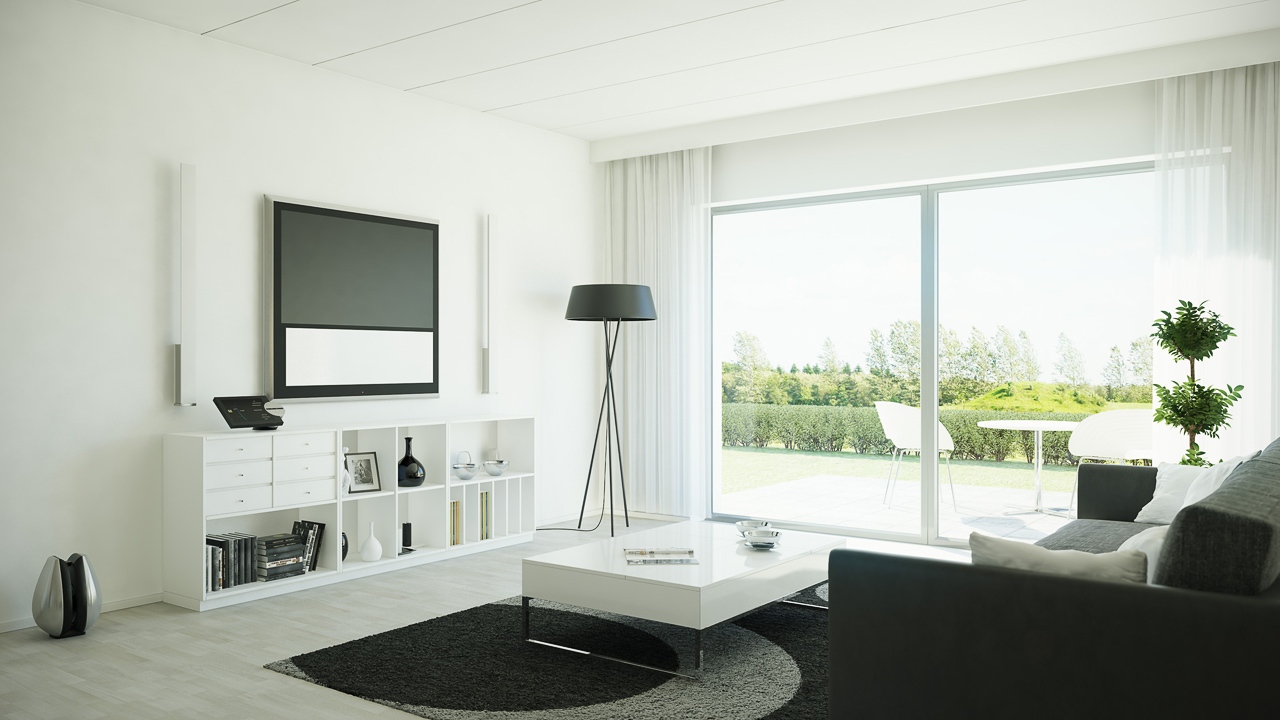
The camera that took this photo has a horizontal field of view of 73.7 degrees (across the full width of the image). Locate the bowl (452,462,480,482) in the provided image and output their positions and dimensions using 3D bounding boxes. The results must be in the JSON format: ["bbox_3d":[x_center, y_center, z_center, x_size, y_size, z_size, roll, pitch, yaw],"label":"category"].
[{"bbox_3d":[-1.629,1.034,7.964,0.187,0.092,0.171,-1,-2,0],"label":"bowl"}]

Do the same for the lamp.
[{"bbox_3d":[-0.277,0.457,8.957,0.897,2.545,1.170,-1,10,-3],"label":"lamp"}]

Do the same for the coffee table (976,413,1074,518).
[{"bbox_3d":[3.618,0.972,7.795,1.008,0.741,0.963,-4,1,-17],"label":"coffee table"}]

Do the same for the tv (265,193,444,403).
[{"bbox_3d":[-2.508,-0.487,7.639,0.148,1.730,1.996,0,1,31],"label":"tv"}]

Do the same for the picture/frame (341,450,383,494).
[{"bbox_3d":[-2.384,0.966,7.316,0.031,0.402,0.441,-19,-9,40],"label":"picture/frame"}]
